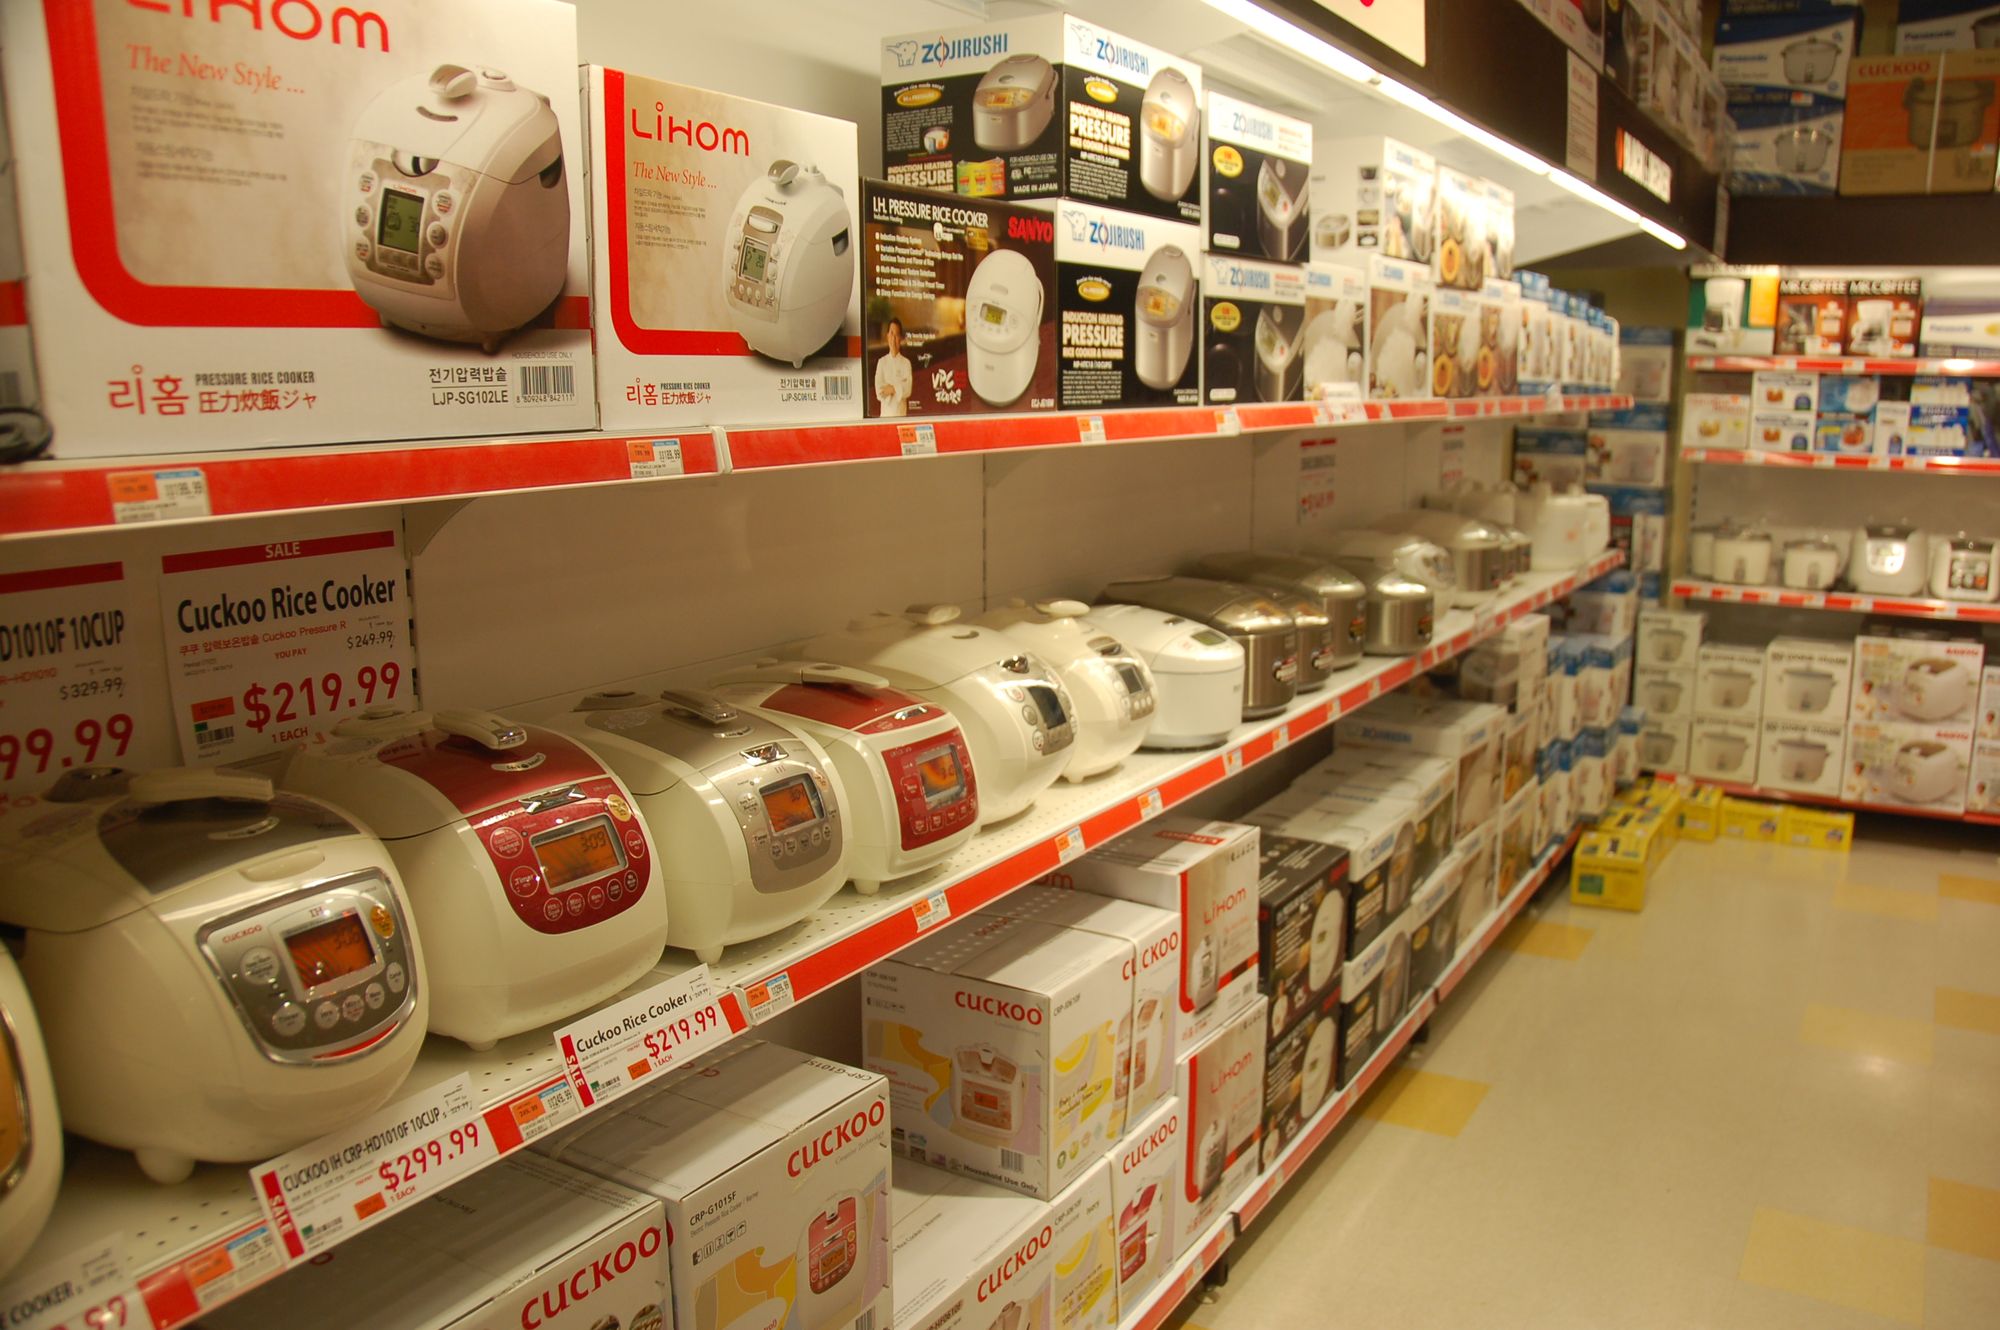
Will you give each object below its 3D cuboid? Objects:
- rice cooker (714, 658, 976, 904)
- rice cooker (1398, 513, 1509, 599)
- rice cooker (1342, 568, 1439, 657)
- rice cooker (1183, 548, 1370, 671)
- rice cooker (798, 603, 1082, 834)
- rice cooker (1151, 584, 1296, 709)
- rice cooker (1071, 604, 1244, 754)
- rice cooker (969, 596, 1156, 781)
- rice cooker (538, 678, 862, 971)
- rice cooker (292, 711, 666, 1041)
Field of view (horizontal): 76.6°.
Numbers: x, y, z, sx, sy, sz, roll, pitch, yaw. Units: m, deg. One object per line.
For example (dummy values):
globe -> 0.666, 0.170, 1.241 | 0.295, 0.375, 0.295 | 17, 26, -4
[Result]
rice cooker -> -0.313, 0.162, 2.156 | 0.534, 0.333, 0.313 | 6, 13, 27
rice cooker -> 1.610, -0.412, 4.542 | 0.354, 0.184, 0.257 | 15, 22, 39
rice cooker -> 1.151, -0.157, 3.695 | 0.276, 0.245, 0.198 | 6, 12, 33
rice cooker -> 0.691, -0.080, 3.503 | 0.305, 0.269, 0.515 | -24, 11, -21
rice cooker -> -0.152, 0.100, 2.442 | 0.579, 0.418, 0.328 | -1, 4, 30
rice cooker -> 0.548, -0.043, 3.134 | 0.243, 0.312, 0.411 | -16, 17, -37
rice cooker -> 0.343, 0.013, 2.938 | 0.303, 0.308, 0.499 | -15, 19, -36
rice cooker -> 0.106, 0.034, 2.686 | 0.458, 0.359, 0.264 | 5, 15, 42
rice cooker -> -0.433, 0.194, 1.894 | 0.470, 0.294, 0.253 | 15, 23, 30
rice cooker -> -0.710, 0.240, 1.687 | 0.514, 0.354, 0.308 | 6, 9, 33
